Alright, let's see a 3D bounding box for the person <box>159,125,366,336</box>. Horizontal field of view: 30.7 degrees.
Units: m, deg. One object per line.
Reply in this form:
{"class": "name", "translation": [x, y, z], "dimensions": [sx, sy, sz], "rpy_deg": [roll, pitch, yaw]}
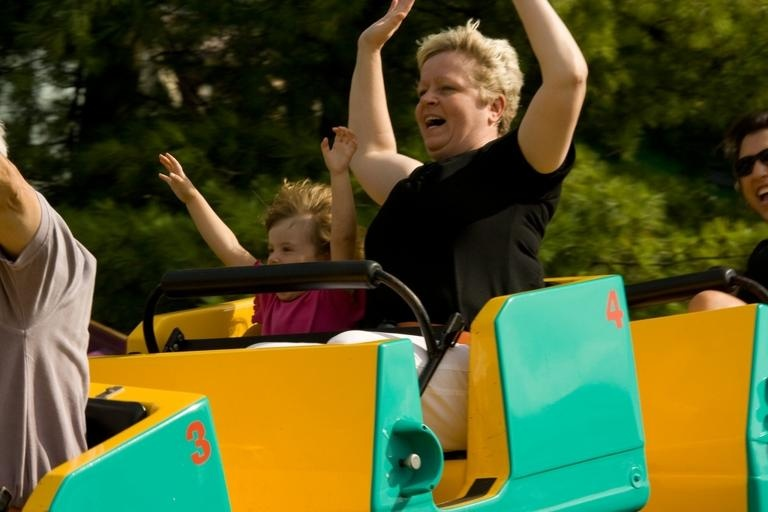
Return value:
{"class": "person", "translation": [-0.514, -0.094, 5.645], "dimensions": [0.779, 1.051, 0.324], "rpy_deg": [-14, -35, 8]}
